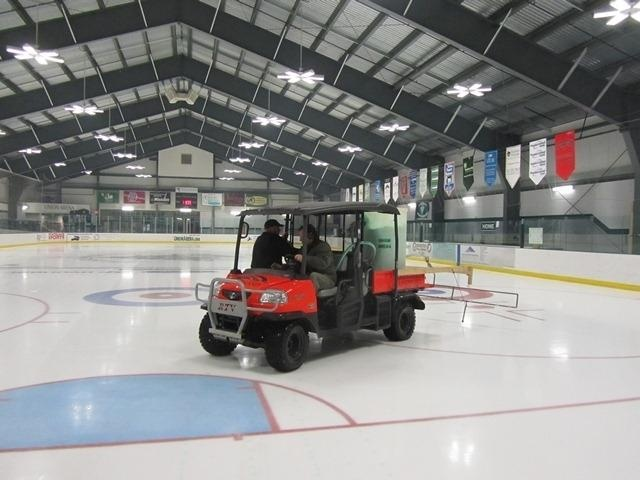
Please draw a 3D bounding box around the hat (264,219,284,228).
[{"bbox_3d":[-0.677,-0.231,6.541,0.188,0.086,0.120,-7,9,-30],"label":"hat"}]

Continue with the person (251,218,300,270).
[{"bbox_3d":[-0.680,0.164,6.698,0.709,0.979,0.583,5,20,4],"label":"person"}]

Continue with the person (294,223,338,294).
[{"bbox_3d":[-0.104,0.316,6.375,0.652,1.033,0.577,-4,5,-40],"label":"person"}]

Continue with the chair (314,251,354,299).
[{"bbox_3d":[0.183,0.505,6.419,0.650,0.725,0.514,9,-9,-30],"label":"chair"}]
